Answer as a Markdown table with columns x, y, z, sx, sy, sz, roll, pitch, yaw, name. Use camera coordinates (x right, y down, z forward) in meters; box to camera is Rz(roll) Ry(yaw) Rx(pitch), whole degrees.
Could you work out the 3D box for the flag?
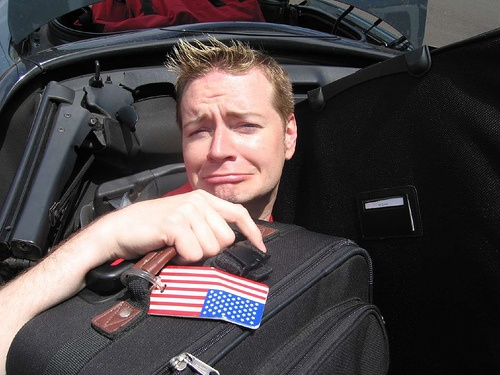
| x | y | z | sx | sy | sz | roll | pitch | yaw | name |
| --- | --- | --- | --- | --- | --- | --- | --- | --- | --- |
| -0.114 | 0.290 | 1.076 | 0.247 | 0.051 | 0.164 | 8 | 55 | 7 | flag |
